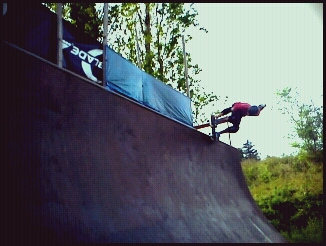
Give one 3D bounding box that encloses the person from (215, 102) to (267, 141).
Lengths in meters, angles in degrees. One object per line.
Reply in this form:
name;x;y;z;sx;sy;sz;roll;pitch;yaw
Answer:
person;1.923;-0.148;9.735;0.707;0.840;1.764;11;-24;-33
